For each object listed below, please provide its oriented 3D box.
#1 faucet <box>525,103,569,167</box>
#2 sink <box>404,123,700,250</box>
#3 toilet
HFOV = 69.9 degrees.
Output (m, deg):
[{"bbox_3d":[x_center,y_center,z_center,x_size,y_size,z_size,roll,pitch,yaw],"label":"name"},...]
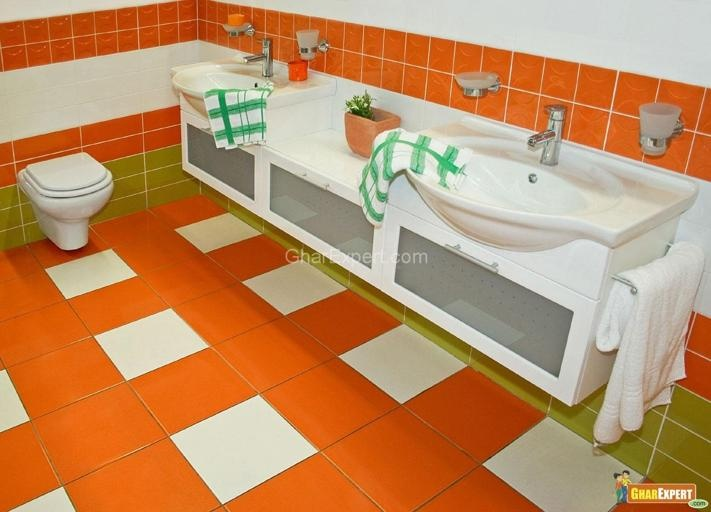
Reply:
[{"bbox_3d":[0.712,-0.439,1.923,0.195,0.218,0.082,-23,36,-32],"label":"faucet"},{"bbox_3d":[0.665,-0.206,1.923,0.975,0.236,0.608,26,44,29],"label":"sink"},{"bbox_3d":[-1.791,-0.308,3.166,0.469,0.458,0.548,-15,38,-43],"label":"toilet"}]
